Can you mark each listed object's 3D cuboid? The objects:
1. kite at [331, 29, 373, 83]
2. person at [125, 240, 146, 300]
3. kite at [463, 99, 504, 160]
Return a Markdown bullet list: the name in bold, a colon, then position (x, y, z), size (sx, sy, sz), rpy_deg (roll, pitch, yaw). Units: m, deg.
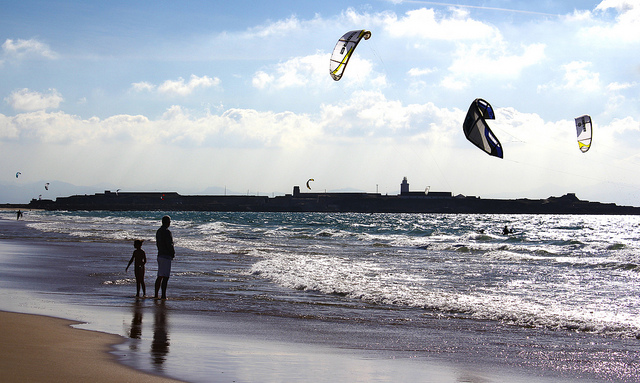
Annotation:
- **kite**: position (1.153, -5.642, 29.665), size (0.655, 1.938, 2.215), rpy_deg (2, 1, -21)
- **person**: position (-5.676, 2.343, 21.992), size (0.580, 1.508, 1.291), rpy_deg (2, 1, -14)
- **kite**: position (5.483, -2.366, 23.313), size (0.649, 1.789, 1.716), rpy_deg (-29, -36, -10)
